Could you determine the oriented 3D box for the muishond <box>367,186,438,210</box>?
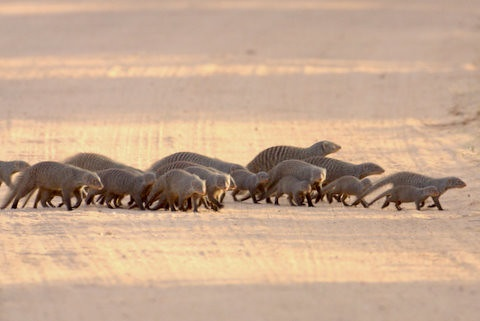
[{"bbox_3d":[5.607,1.303,34.134,2.715,0.703,0.516,-1,3,35],"label":"muishond"}]
